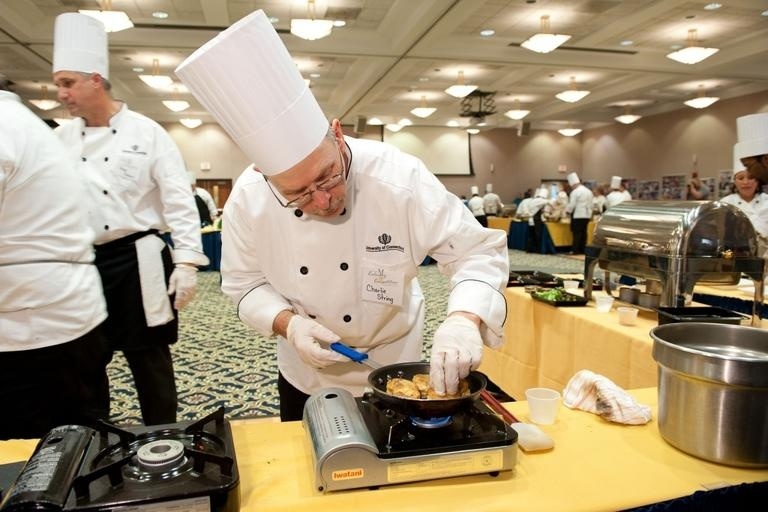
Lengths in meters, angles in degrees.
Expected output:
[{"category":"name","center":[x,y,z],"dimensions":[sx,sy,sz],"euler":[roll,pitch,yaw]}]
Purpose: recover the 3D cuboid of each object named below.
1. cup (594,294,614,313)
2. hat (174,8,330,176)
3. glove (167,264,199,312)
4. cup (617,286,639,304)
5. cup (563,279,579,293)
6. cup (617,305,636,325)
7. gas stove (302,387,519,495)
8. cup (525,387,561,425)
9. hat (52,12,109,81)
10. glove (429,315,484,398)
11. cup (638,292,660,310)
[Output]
[{"category":"cup","center":[1.302,0.284,2.936],"dimensions":[0.103,0.070,0.100],"euler":[5,-2,0]},{"category":"hat","center":[-0.403,-0.500,1.545],"dimensions":[0.406,0.498,0.223],"euler":[-1,6,8]},{"category":"glove","center":[-1.063,0.165,2.580],"dimensions":[0.179,0.221,0.081],"euler":[-2,4,-10]},{"category":"cup","center":[1.441,0.226,2.919],"dimensions":[0.086,0.091,0.141],"euler":[-1,5,-12]},{"category":"cup","center":[1.280,0.207,3.357],"dimensions":[0.087,0.055,0.087],"euler":[-3,-6,0]},{"category":"cup","center":[1.316,0.322,2.659],"dimensions":[0.093,0.092,0.131],"euler":[1,5,25]},{"category":"gas stove","center":[0.061,0.527,1.432],"dimensions":[0.357,0.119,0.341],"euler":[-3,9,-8]},{"category":"cup","center":[0.551,0.510,1.693],"dimensions":[0.123,0.088,0.122],"euler":[-1,-9,0]},{"category":"hat","center":[-1.576,-1.092,2.556],"dimensions":[0.249,0.366,0.253],"euler":[-4,6,-29]},{"category":"glove","center":[0.236,0.315,1.566],"dimensions":[0.139,0.072,0.230],"euler":[-8,35,26]},{"category":"cup","center":[1.506,0.251,2.800],"dimensions":[0.107,0.073,0.104],"euler":[1,-3,0]}]
